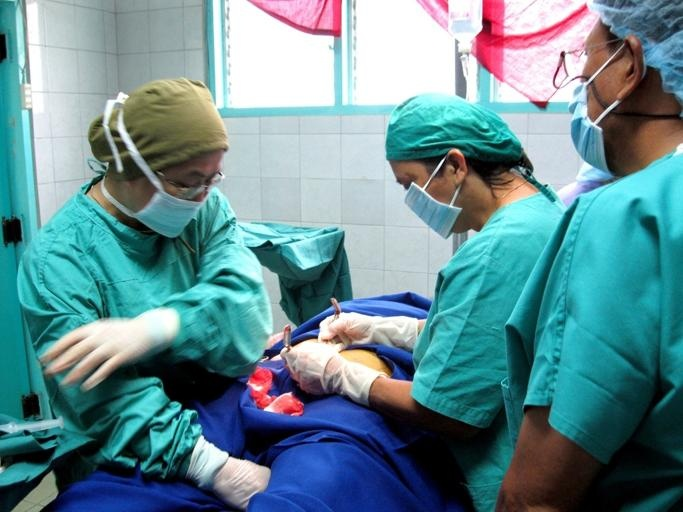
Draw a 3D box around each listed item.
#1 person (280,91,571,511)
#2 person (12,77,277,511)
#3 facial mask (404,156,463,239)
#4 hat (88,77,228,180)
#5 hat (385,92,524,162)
[{"bbox_3d":[0.390,0.021,2.280,0.991,1.837,0.976,3,7,23],"label":"person"},{"bbox_3d":[-0.543,0.079,1.563,0.701,1.146,0.592,-3,11,-18],"label":"person"},{"bbox_3d":[0.304,-0.156,1.677,0.077,0.198,0.185,35,-6,-6],"label":"facial mask"},{"bbox_3d":[-0.507,-0.326,1.587,0.322,0.218,0.252,-21,8,13],"label":"hat"},{"bbox_3d":[0.328,-0.338,1.618,0.294,0.161,0.230,5,2,10],"label":"hat"}]
